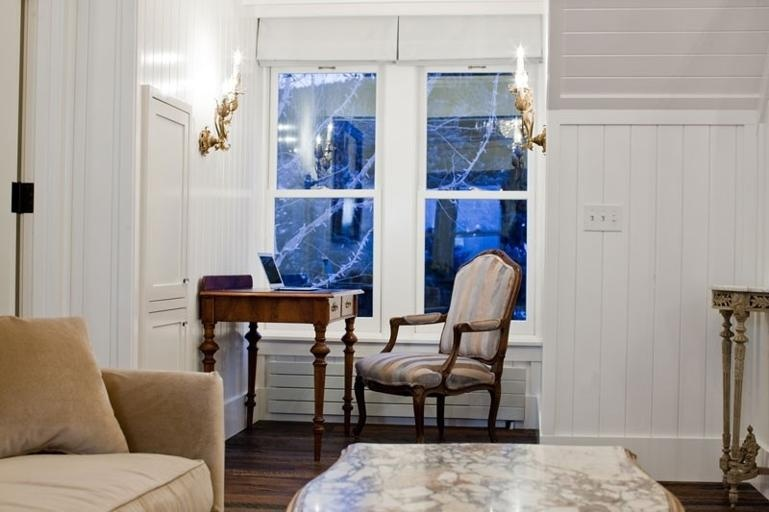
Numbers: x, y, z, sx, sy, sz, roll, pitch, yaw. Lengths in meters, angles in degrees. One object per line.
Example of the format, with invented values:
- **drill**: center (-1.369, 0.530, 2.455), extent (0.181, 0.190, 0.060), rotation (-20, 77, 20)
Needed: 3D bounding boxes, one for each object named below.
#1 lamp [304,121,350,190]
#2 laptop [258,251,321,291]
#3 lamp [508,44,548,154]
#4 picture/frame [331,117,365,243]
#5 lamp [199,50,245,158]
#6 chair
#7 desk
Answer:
- **lamp**: center (-0.432, -0.746, 5.621), extent (0.230, 0.463, 0.227), rotation (7, 12, 23)
- **laptop**: center (-0.654, 0.122, 4.927), extent (0.282, 0.222, 0.300), rotation (1, -2, 3)
- **lamp**: center (0.895, -0.993, 4.842), extent (0.182, 0.640, 0.145), rotation (-6, 12, 1)
- **picture/frame**: center (-0.285, -0.514, 5.696), extent (0.278, 1.089, 0.028), rotation (-2, 38, -5)
- **lamp**: center (-1.046, -0.962, 4.869), extent (0.247, 0.683, 0.600), rotation (1, 4, -9)
- **chair**: center (0.316, 0.544, 4.792), extent (0.916, 1.267, 0.999), rotation (0, -4, 38)
- **desk**: center (-0.626, 0.706, 4.889), extent (1.047, 1.008, 1.104), rotation (2, -1, -9)
